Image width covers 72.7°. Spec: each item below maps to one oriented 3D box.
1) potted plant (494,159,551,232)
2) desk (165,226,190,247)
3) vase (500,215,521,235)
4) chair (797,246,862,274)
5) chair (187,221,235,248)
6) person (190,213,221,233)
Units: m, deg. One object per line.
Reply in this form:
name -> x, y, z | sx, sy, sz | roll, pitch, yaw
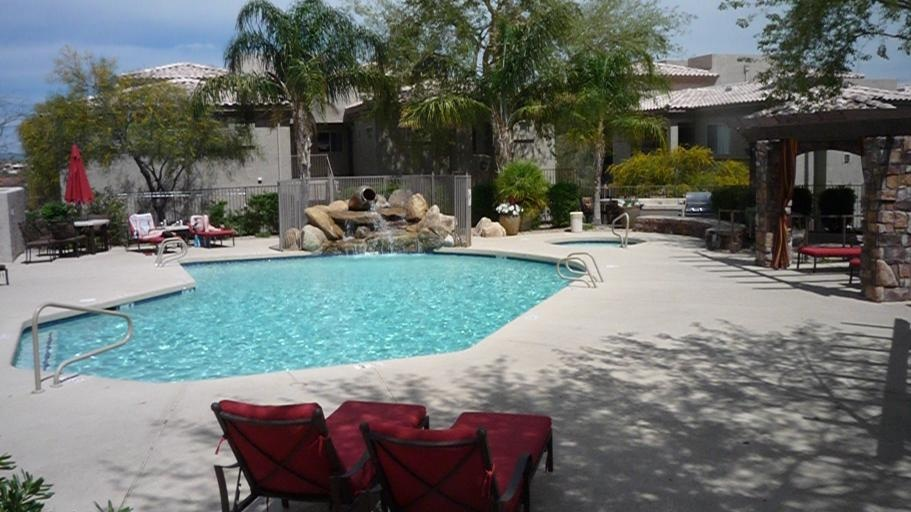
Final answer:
potted plant -> 2.748, -2.718, 27.000 | 2.847, 2.978, 2.908 | 3, 4, 35
desk -> -10.488, -0.754, 23.337 | 0.924, 0.861, 0.858 | -2, 4, -29
vase -> 2.335, -1.358, 26.849 | 0.838, 0.876, 0.853 | 2, 6, 37
chair -> 10.326, -0.011, 17.323 | 1.424, 0.672, 2.547 | 1, 8, 29
chair -> -9.702, -0.812, 24.643 | 1.713, 0.954, 1.071 | 6, 9, 43
person -> -10.158, -1.267, 24.624 | 1.170, 0.502, 0.953 | 8, 9, 43
